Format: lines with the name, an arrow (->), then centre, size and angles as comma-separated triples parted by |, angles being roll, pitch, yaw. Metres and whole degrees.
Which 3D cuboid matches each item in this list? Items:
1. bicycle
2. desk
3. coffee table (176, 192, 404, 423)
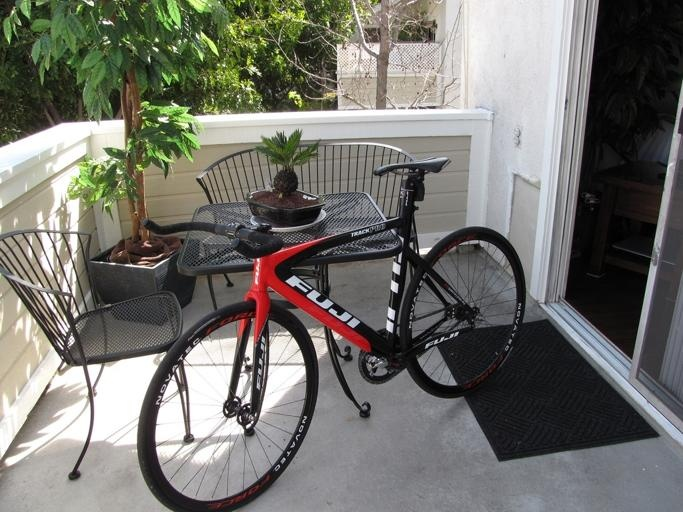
bicycle -> 0.153, 0.211, 2.319 | 2.286, 1.345, 0.692 | -17, 30, -33
desk -> 2.179, -0.303, 3.457 | 0.613, 0.598, 0.552 | -10, 22, -18
coffee table -> -0.240, 0.217, 2.652 | 1.187, 1.009, 1.043 | -2, 34, -3
